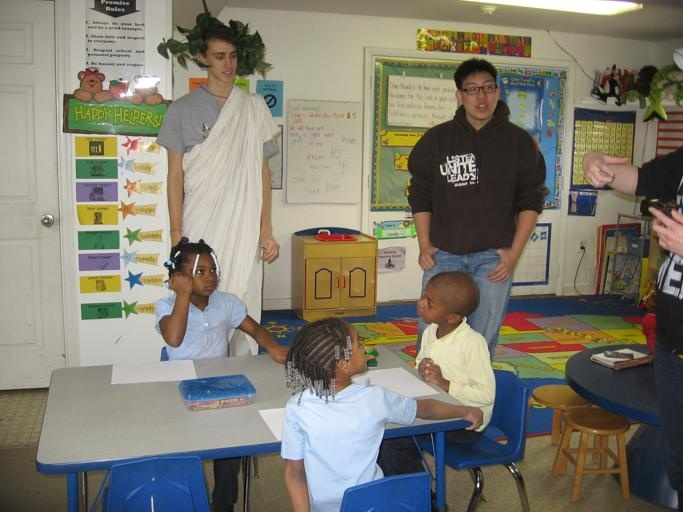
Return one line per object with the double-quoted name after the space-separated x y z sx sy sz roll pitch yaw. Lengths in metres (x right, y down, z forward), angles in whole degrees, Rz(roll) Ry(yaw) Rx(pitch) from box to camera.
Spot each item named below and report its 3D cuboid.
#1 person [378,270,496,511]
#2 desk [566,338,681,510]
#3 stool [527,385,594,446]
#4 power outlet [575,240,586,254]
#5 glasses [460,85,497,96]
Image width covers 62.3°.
0.395 0.523 2.510 0.533 0.871 0.439 -1 10 -11 "person"
1.425 0.885 2.959 0.644 0.414 0.644 -8 17 0 "desk"
1.272 0.931 3.317 0.364 0.297 0.345 -11 15 -38 "stool"
2.933 -0.129 6.972 0.163 0.218 0.022 -1 7 -3 "power outlet"
0.710 -0.865 2.929 0.172 0.061 0.054 4 14 9 "glasses"
